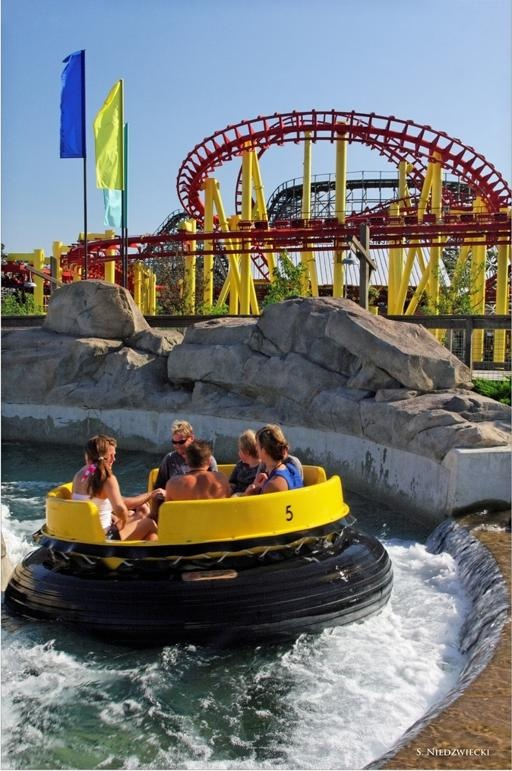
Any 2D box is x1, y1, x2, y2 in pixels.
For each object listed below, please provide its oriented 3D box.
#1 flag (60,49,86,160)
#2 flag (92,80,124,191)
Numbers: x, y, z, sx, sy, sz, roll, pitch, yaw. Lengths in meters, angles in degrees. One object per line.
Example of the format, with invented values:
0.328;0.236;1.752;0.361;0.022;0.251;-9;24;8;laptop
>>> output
-4.458;-6.807;17.609;0.544;2.516;0.483;0;10;-9;flag
-3.572;-6.118;17.669;0.922;2.661;0.678;-5;12;-36;flag
